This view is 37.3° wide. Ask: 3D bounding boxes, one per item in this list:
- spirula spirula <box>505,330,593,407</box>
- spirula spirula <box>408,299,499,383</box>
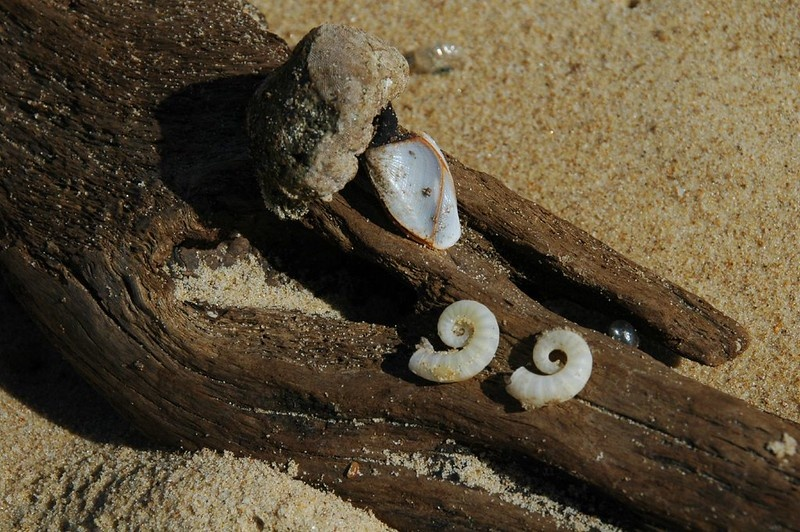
[{"bbox_3d":[1.293,0.877,9.999,0.532,0.755,0.250,32,-8,12],"label":"spirula spirula"},{"bbox_3d":[0.483,0.652,10.123,0.612,0.419,0.742,7,22,20],"label":"spirula spirula"}]
